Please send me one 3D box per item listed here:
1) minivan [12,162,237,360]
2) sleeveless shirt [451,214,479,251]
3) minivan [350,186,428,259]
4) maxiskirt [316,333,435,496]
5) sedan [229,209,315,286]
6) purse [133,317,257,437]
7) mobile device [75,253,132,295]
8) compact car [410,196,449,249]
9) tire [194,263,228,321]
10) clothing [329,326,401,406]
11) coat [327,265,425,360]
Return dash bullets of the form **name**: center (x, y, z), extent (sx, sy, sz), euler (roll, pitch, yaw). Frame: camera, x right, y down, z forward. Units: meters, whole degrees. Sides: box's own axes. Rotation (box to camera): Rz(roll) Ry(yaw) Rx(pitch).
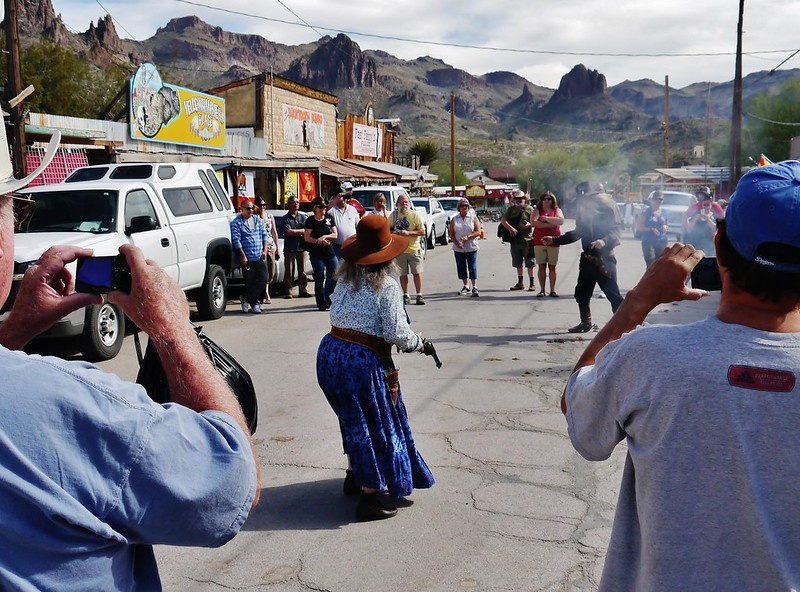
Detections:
- **minivan**: center (-3.914, -0.578, 9.925), extent (2.196, 2.562, 4.458), euler (-1, 1, 15)
- **sleeveless shirt**: center (1.168, -1.128, 13.079), extent (0.588, 0.826, 0.401), euler (0, 0, 6)
- **minivan**: center (-0.750, -2.215, 20.163), extent (1.619, 1.971, 3.413), euler (12, -1, -26)
- **maxiskirt**: center (-0.166, 0.763, 4.592), extent (0.732, 0.979, 0.378), euler (-1, 7, -6)
- **sedan**: center (-2.670, -1.237, 14.092), extent (1.542, 0.824, 0.737), euler (-1, 27, 10)
- **purse**: center (-0.678, 0.260, 2.496), extent (0.215, 0.593, 0.283), euler (-12, 6, 34)
- **mobile device**: center (-0.897, -0.057, 2.151), extent (0.172, 0.140, 0.044), euler (0, -5, 16)
- **compact car**: center (0.980, -2.560, 24.795), extent (1.031, 0.994, 2.046), euler (1, 10, 17)
- **tire**: center (-2.965, -0.051, 11.245), extent (0.227, 0.824, 0.759), euler (0, 5, 9)
- **clothing**: center (-0.208, 0.420, 4.623), extent (0.448, 0.468, 0.392), euler (12, 1, -21)
- **coat**: center (-0.241, 0.125, 4.734), extent (0.620, 0.531, 0.409), euler (1, -9, 18)
